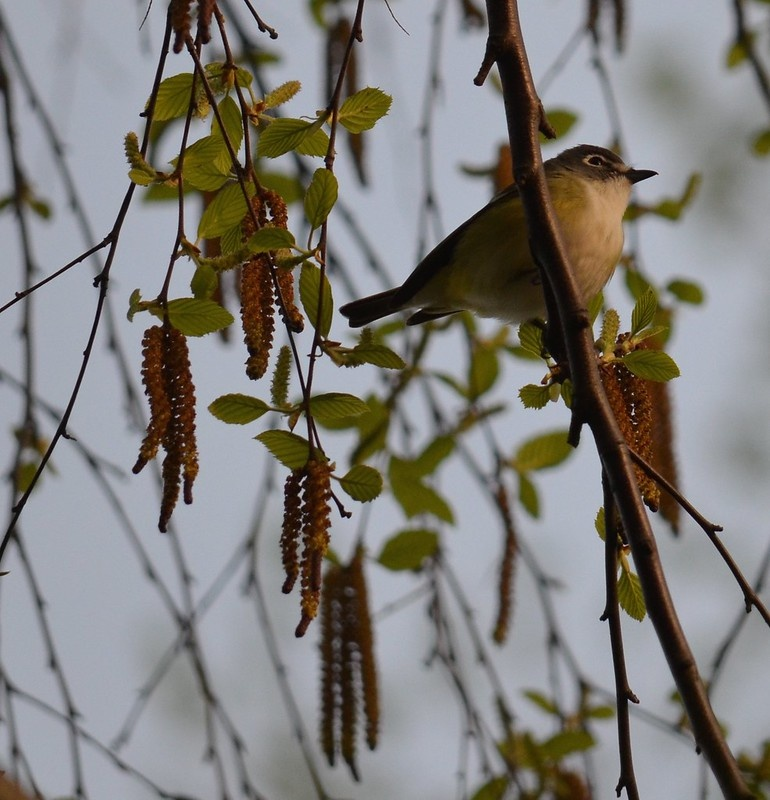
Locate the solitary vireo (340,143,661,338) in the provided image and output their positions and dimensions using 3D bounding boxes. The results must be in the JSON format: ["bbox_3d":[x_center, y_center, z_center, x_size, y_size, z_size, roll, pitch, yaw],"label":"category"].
[{"bbox_3d":[0.337,-0.462,5.002,0.920,0.621,0.495,-16,-53,16],"label":"solitary vireo"}]

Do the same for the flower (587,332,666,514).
[{"bbox_3d":[0.574,0.047,3.732,0.080,0.139,0.500,-3,-92,2],"label":"flower"}]

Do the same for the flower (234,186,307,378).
[{"bbox_3d":[-0.255,-0.272,3.423,0.135,0.101,0.541,-10,-106,43],"label":"flower"}]

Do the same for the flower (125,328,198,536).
[{"bbox_3d":[-0.449,0.033,3.265,0.123,0.127,0.494,2,-100,-5],"label":"flower"}]
